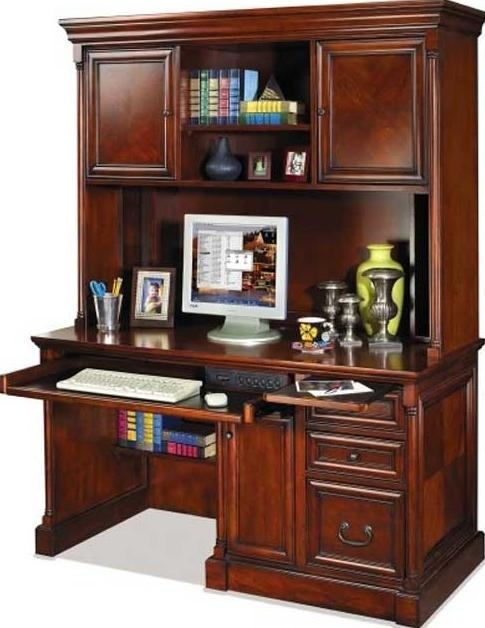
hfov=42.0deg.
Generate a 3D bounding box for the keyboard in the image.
[{"bbox_3d":[-0.396,0.244,2.159,0.510,0.069,0.240,-1,4,28],"label":"keyboard"}]

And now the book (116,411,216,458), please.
[{"bbox_3d":[-0.293,0.456,2.444,0.183,0.151,0.468,-6,5,-38],"label":"book"}]

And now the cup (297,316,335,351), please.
[{"bbox_3d":[0.245,0.069,2.174,0.125,0.086,0.099,4,8,28],"label":"cup"}]

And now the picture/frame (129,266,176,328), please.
[{"bbox_3d":[-0.370,-0.065,2.594,0.263,0.325,0.035,2,0,9],"label":"picture/frame"}]

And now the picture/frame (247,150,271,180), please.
[{"bbox_3d":[0.061,-0.565,2.427,0.087,0.132,0.121,-3,3,2],"label":"picture/frame"}]

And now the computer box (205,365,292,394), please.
[{"bbox_3d":[0.005,0.227,2.108,0.348,0.088,0.065,1,5,45],"label":"computer box"}]

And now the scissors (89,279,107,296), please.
[{"bbox_3d":[-0.605,-0.109,2.620,0.053,0.062,0.044,-16,10,35],"label":"scissors"}]

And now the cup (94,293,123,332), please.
[{"bbox_3d":[-0.501,-0.003,2.531,0.146,0.147,0.143,0,0,0],"label":"cup"}]

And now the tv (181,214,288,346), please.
[{"bbox_3d":[-0.027,-0.134,2.356,0.482,0.454,0.278,4,7,25],"label":"tv"}]
